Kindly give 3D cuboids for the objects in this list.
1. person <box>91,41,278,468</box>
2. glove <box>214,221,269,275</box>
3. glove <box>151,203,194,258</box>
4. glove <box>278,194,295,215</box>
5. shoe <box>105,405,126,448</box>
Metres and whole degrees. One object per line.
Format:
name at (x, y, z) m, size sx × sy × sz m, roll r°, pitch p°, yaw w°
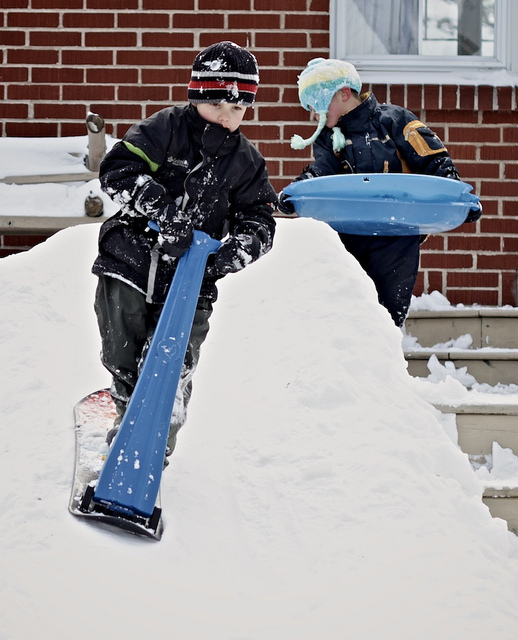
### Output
person at (-0.259, -0.227, 4.446) m, size 0.600 × 1.444 × 0.323 m, roll 5°, pitch 8°, yaw -3°
glove at (-0.059, -0.244, 4.428) m, size 0.119 × 0.203 × 0.086 m, roll 46°, pitch -14°, yaw 14°
glove at (-0.292, -0.299, 4.307) m, size 0.138 × 0.176 × 0.058 m, roll 5°, pitch 8°, yaw -6°
glove at (0.110, -0.479, 5.457) m, size 0.055 × 0.074 × 0.069 m, roll 7°, pitch -39°, yaw 6°
shoe at (-0.484, 0.366, 4.395) m, size 0.040 × 0.144 × 0.036 m, roll -9°, pitch -40°, yaw 46°
